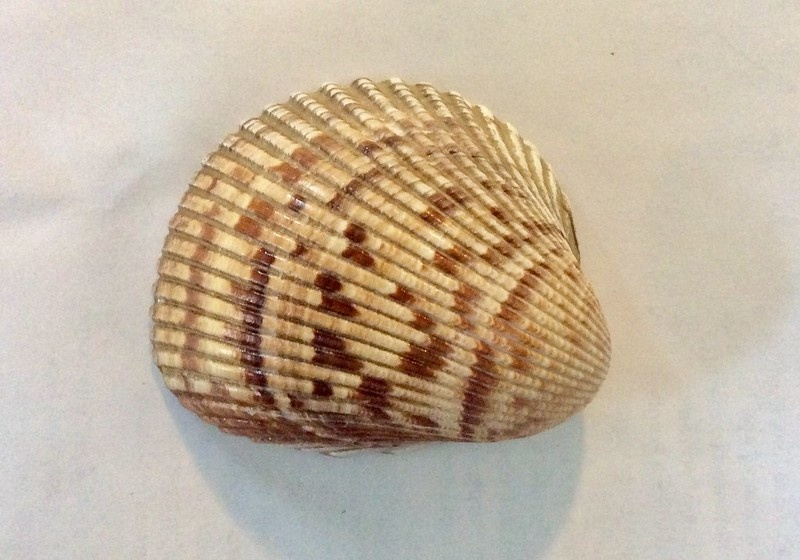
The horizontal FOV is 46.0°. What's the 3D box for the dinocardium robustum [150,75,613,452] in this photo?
[{"bbox_3d":[-0.039,-0.037,1.807,0.868,0.282,0.687,-2,74,-5],"label":"dinocardium robustum"}]
